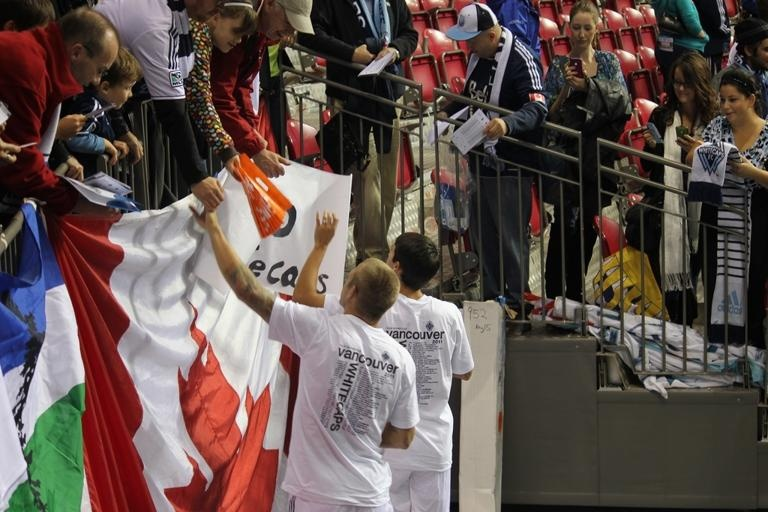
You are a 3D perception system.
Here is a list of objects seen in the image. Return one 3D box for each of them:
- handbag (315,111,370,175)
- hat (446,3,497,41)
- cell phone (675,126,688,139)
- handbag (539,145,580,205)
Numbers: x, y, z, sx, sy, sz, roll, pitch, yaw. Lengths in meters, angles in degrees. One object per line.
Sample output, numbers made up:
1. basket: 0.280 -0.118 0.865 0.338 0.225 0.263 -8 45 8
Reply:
1. handbag: -0.309 -0.884 9.308 0.419 0.446 0.185 -38 -2 4
2. hat: 0.683 -1.749 9.288 0.348 0.265 0.156 -27 -48 -5
3. cell phone: 2.309 -0.972 9.304 0.080 0.102 0.125 -2 -10 14
4. handbag: 1.403 -0.667 9.641 0.335 0.300 0.554 2 -46 8
